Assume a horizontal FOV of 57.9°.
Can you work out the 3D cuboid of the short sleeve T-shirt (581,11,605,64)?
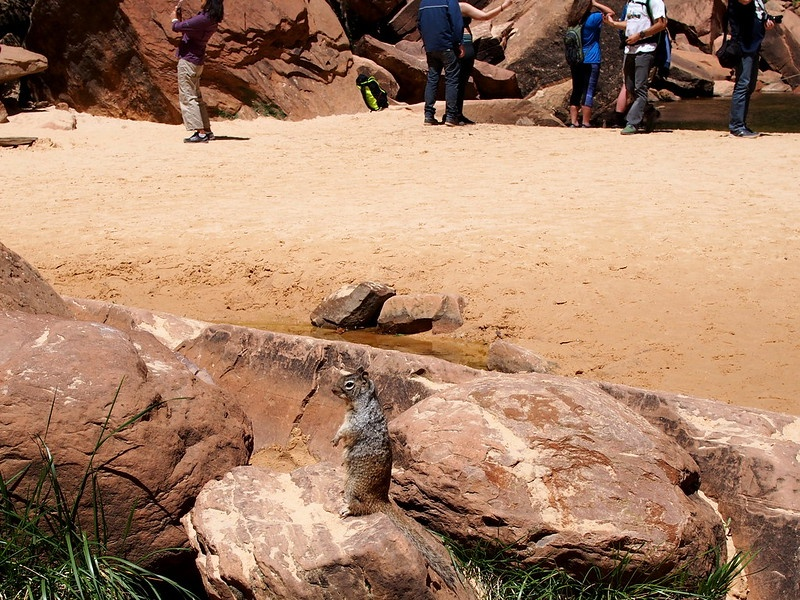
[{"bbox_3d":[3.085,-4.270,11.758,0.319,0.782,0.326,4,26,10],"label":"short sleeve T-shirt"}]

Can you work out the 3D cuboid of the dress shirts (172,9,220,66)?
[{"bbox_3d":[-3.231,-4.163,11.513,0.658,0.796,0.473,-6,26,-12],"label":"dress shirts"}]

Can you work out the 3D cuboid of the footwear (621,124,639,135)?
[{"bbox_3d":[3.653,-2.718,11.556,0.319,0.105,0.135,-14,21,-42],"label":"footwear"}]

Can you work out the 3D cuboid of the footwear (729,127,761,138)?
[{"bbox_3d":[5.184,-2.540,10.928,0.493,0.175,0.167,7,17,35],"label":"footwear"}]

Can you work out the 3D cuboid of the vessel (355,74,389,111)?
[{"bbox_3d":[-0.558,-4.154,14.590,0.359,0.870,0.608,-36,62,-2],"label":"vessel"}]
